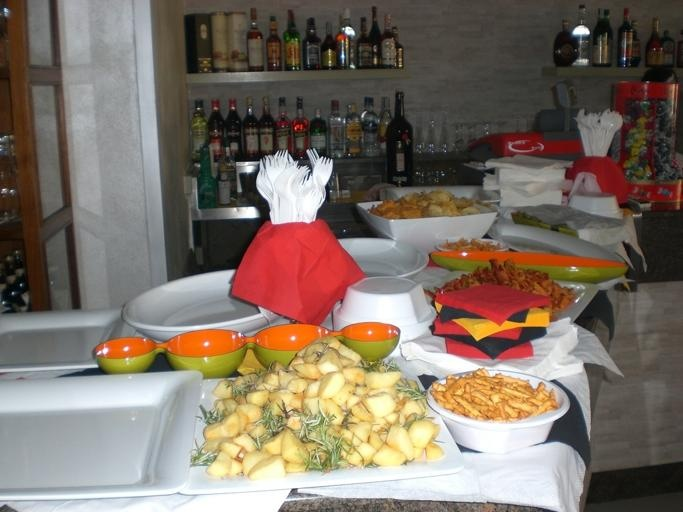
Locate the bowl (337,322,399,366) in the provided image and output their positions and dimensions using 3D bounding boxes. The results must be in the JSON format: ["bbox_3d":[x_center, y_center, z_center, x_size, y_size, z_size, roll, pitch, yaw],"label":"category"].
[{"bbox_3d":[0.038,0.123,0.752,0.075,0.027,0.051,-2,0,39],"label":"bowl"}]

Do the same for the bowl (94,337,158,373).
[{"bbox_3d":[-0.303,0.127,0.749,0.055,0.026,0.066,3,4,17],"label":"bowl"}]
